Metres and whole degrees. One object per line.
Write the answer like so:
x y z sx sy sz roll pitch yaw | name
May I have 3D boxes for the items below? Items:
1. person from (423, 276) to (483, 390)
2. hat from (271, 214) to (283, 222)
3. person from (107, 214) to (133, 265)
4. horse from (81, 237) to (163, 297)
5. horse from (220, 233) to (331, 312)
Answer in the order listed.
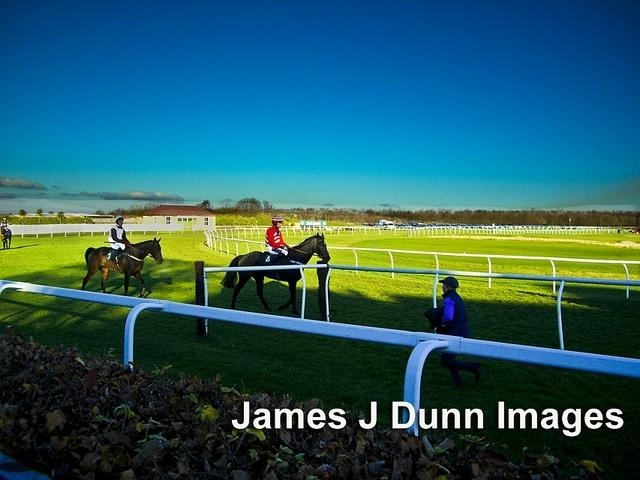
1.547 1.081 4.546 0.724 1.188 0.510 -4 -15 42 | person
-1.046 -0.533 9.694 0.195 0.151 0.257 -1 2 -12 | hat
-5.777 -0.049 11.279 0.522 1.259 2.669 -2 3 -27 | person
-5.376 0.762 10.640 2.483 1.610 0.566 2 0 14 | horse
-1.043 0.835 9.357 2.942 1.937 0.671 -2 -8 23 | horse
